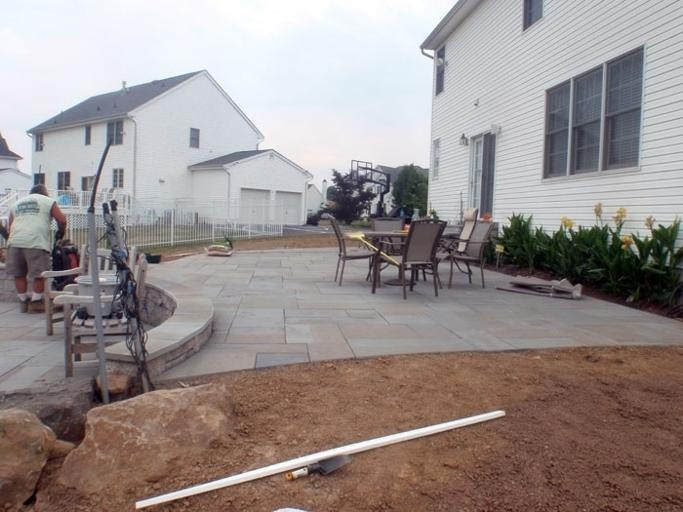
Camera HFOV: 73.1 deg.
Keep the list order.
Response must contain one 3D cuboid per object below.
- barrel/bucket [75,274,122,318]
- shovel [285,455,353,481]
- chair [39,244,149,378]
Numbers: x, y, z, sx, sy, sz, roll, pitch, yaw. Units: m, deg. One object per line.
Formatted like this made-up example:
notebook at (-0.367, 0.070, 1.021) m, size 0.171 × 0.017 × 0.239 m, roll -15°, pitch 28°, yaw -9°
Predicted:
barrel/bucket at (-2.198, 0.385, 4.264) m, size 0.423 × 0.302 × 0.430 m, roll 6°, pitch 5°, yaw 0°
shovel at (-0.124, 1.218, 2.652) m, size 0.388 × 0.060 × 0.131 m, roll -7°, pitch 33°, yaw -9°
chair at (-2.189, 0.521, 4.099) m, size 0.533 × 0.785 × 1.243 m, roll 3°, pitch -1°, yaw -28°
